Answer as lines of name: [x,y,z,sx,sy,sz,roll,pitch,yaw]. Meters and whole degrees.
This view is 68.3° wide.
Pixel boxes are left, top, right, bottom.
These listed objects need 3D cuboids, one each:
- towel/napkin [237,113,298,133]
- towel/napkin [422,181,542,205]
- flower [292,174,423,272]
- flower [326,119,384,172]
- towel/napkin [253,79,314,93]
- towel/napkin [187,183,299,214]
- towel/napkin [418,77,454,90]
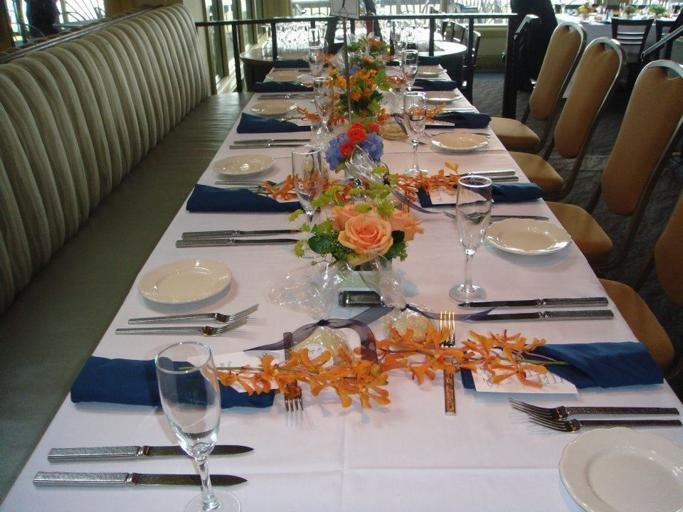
towel/napkin: [-0.360,-0.652,2.478,0.200,0.039,0.150,-1,32,-3]
towel/napkin: [0.439,-0.196,1.570,0.221,0.036,0.136,-5,29,2]
flower: [0.053,-0.060,1.247,0.251,0.284,0.128,-1,-12,9]
flower: [0.046,-0.362,1.678,0.169,0.132,0.181,-15,33,12]
towel/napkin: [-0.371,-1.083,3.201,0.270,0.053,0.161,2,30,-2]
towel/napkin: [-0.360,-0.196,1.745,0.262,0.052,0.164,2,30,-4]
towel/napkin: [0.566,-1.050,3.048,0.186,0.045,0.113,1,22,-3]
